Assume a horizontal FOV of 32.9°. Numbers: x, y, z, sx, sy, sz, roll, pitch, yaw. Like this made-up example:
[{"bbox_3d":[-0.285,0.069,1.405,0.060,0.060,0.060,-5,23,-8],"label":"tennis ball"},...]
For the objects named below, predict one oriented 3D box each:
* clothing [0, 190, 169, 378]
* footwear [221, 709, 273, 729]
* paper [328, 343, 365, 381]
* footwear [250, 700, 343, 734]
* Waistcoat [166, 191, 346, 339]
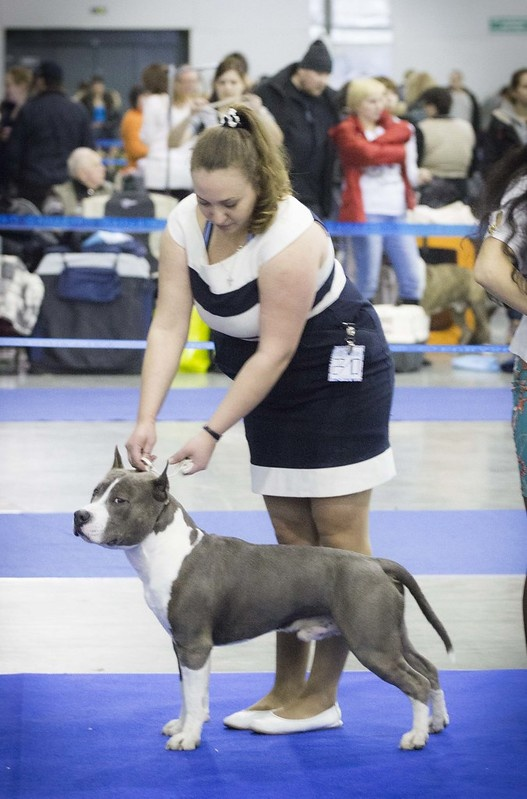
[{"bbox_3d":[-1.374,-0.853,7.899,1.727,1.996,1.496,0,-5,-4],"label":"clothing"},{"bbox_3d":[-0.044,0.781,2.198,0.123,0.039,0.045,6,-10,-42],"label":"footwear"},{"bbox_3d":[0.195,-0.086,2.063,0.086,0.081,0.028,0,7,-14],"label":"paper"},{"bbox_3d":[0.081,0.793,2.222,0.224,0.080,0.074,3,-9,-14],"label":"footwear"},{"bbox_3d":[-0.013,-0.340,2.034,0.374,0.299,0.322,-1,49,17],"label":"Waistcoat"}]
